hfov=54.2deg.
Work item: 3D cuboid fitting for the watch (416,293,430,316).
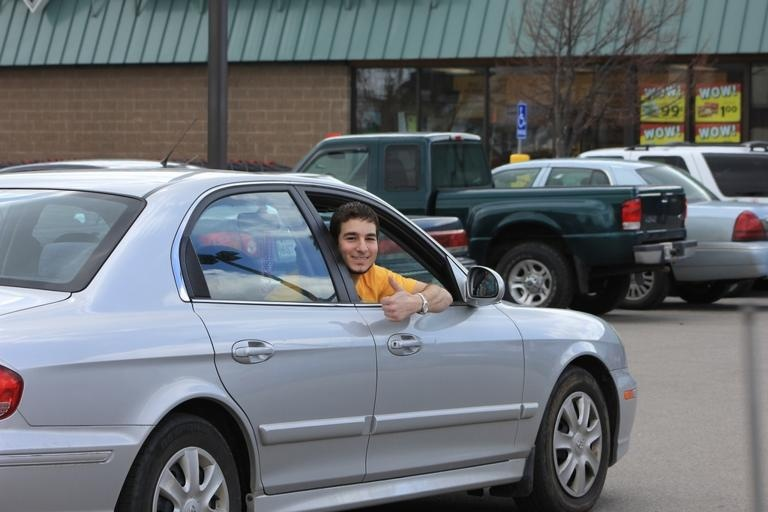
[{"bbox_3d":[0.242,0.292,4.502,0.111,0.121,0.073,1,7,37],"label":"watch"}]
